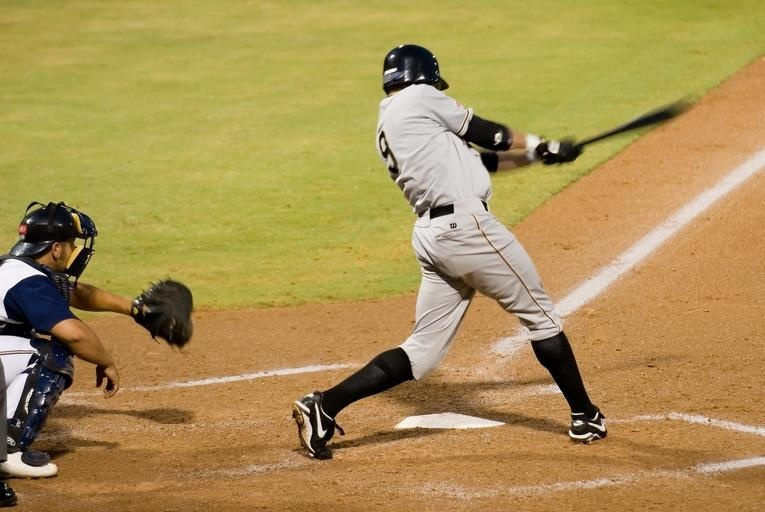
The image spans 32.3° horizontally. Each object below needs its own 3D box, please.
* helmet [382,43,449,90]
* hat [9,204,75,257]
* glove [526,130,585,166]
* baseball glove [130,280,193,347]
[{"bbox_3d":[0.312,-1.581,10.897,0.527,0.206,0.386,-4,4,-41],"label":"helmet"},{"bbox_3d":[-2.802,-0.230,10.798,0.580,0.268,0.421,-24,24,-32],"label":"hat"},{"bbox_3d":[1.421,-0.864,10.805,0.442,0.128,0.223,3,-11,-7],"label":"glove"},{"bbox_3d":[-1.782,0.504,11.326,0.650,0.422,0.703,-11,-4,-8],"label":"baseball glove"}]
